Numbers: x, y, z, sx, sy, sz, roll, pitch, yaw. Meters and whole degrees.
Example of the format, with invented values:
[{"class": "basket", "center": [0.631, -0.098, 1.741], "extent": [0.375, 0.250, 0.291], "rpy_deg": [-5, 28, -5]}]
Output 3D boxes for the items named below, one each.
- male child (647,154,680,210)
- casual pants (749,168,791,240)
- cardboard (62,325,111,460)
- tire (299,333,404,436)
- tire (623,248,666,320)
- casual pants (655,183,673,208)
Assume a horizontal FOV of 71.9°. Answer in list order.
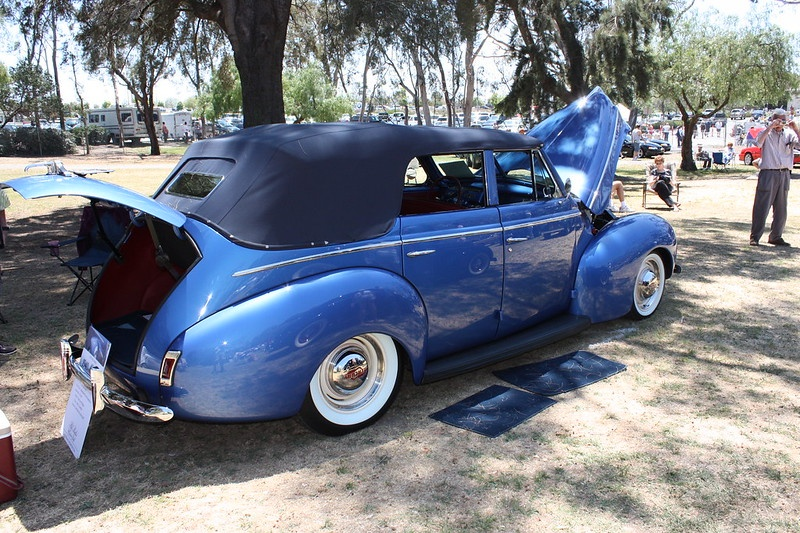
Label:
[{"class": "male child", "center": [7.197, -2.406, 15.314], "extent": [0.717, 0.995, 1.764], "rpy_deg": [-2, 20, 10]}, {"class": "casual pants", "center": [6.726, -1.131, 10.009], "extent": [0.573, 1.368, 0.422], "rpy_deg": [-1, 8, 5]}, {"class": "cardboard", "center": [-2.614, 1.090, 4.618], "extent": [0.176, 1.032, 0.801], "rpy_deg": [9, 11, -35]}, {"class": "tire", "center": [-0.447, 0.997, 4.715], "extent": [0.658, 0.744, 0.205], "rpy_deg": [32, -5, -36]}, {"class": "tire", "center": [2.948, 0.202, 6.723], "extent": [0.282, 0.921, 0.810], "rpy_deg": [11, 5, 40]}, {"class": "casual pants", "center": [7.073, -1.930, 14.745], "extent": [0.408, 0.678, 0.201], "rpy_deg": [-35, -3, 20]}]
